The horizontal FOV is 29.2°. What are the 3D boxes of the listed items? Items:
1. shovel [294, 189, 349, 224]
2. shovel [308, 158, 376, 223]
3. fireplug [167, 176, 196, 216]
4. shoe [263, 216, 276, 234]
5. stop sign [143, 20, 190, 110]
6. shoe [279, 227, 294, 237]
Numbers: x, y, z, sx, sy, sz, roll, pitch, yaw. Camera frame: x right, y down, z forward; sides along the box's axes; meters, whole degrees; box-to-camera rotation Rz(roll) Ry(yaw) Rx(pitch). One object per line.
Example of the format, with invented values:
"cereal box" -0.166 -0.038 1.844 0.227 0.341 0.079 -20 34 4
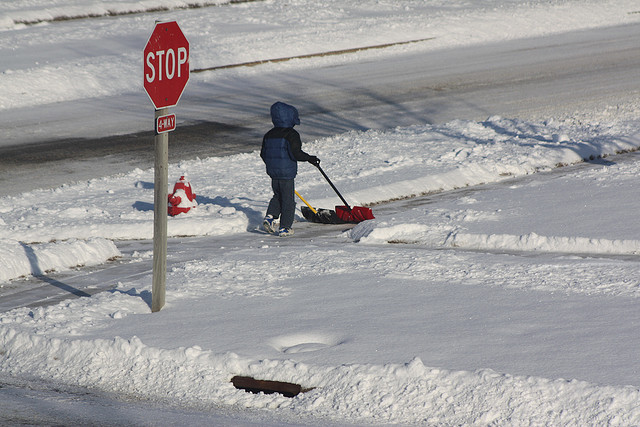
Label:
"shovel" 0.216 -0.048 23.091 0.557 0.948 0.419 -13 31 53
"shovel" 0.533 -0.426 22.668 1.147 1.212 0.601 6 16 41
"fireplug" -2.607 -0.348 22.993 0.419 0.698 0.577 0 12 23
"shoe" -0.926 0.203 22.198 0.183 0.336 0.178 -12 27 40
"stop sign" -2.324 -2.226 18.327 0.786 1.301 0.484 -10 13 -23
"shoe" -0.584 0.316 22.064 0.117 0.102 0.290 10 13 42
